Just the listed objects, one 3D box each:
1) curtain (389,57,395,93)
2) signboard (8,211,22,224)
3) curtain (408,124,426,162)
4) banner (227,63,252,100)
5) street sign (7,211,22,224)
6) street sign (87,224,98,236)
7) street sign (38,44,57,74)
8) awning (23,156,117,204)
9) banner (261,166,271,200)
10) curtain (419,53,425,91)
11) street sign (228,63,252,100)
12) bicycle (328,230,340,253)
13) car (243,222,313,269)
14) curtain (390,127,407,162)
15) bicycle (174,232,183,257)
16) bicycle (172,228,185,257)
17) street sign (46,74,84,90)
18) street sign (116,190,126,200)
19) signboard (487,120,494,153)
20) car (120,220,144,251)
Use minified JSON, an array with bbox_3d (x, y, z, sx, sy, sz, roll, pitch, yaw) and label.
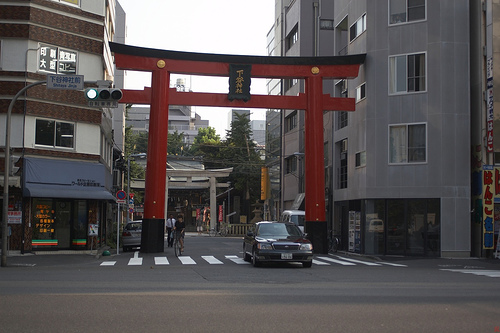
[{"bbox_3d":[8.561,-5.557,35.165,0.417,2.182,0.144,-3,-7,16],"label":"curtain"},{"bbox_3d":[-11.839,2.579,29.207,0.780,0.710,0.110,2,-15,-20],"label":"signboard"},{"bbox_3d":[9.912,-1.499,34.385,1.055,0.235,2.482,8,-44,24],"label":"curtain"},{"bbox_3d":[-0.652,-5.145,35.507,1.512,2.336,0.283,2,-11,-1],"label":"banner"},{"bbox_3d":[-11.803,2.568,29.086,0.751,0.563,0.033,2,-14,-15],"label":"street sign"},{"bbox_3d":[-9.271,3.776,34.423,0.759,0.819,0.627,2,-2,-12],"label":"street sign"},{"bbox_3d":[-12.171,-6.465,34.802,0.138,2.025,1.663,-9,-12,43],"label":"street sign"},{"bbox_3d":[-10.743,0.881,35.013,1.189,2.439,5.966,2,-3,37],"label":"awning"},{"bbox_3d":[1.580,1.826,60.436,0.850,3.324,0.951,-2,-6,2],"label":"banner"},{"bbox_3d":[10.212,-5.611,34.555,0.399,2.198,0.208,-3,-6,11],"label":"curtain"},{"bbox_3d":[-0.664,-5.176,35.514,1.485,2.375,0.311,2,26,-4],"label":"street sign"},{"bbox_3d":[5.555,5.189,38.816,0.710,1.182,1.372,-2,-7,9],"label":"bicycle"},{"bbox_3d":[1.341,3.726,27.823,3.031,2.240,2.339,-2,-7,2],"label":"car"},{"bbox_3d":[8.870,-1.316,34.809,1.012,2.090,0.134,-5,-7,28],"label":"curtain"},{"bbox_3d":[-4.104,4.453,33.301,0.364,1.351,0.980,-1,-7,-6],"label":"bicycle"},{"bbox_3d":[-4.074,4.350,33.374,0.505,1.571,1.100,-1,-7,-5],"label":"bicycle"},{"bbox_3d":[-8.594,-3.995,27.123,1.595,0.882,0.980,0,-8,-13],"label":"street sign"},{"bbox_3d":[-7.489,1.689,33.789,0.469,0.528,0.576,1,-8,-17],"label":"street sign"},{"bbox_3d":[13.495,-1.724,32.688,0.276,1.708,0.469,2,-7,-26],"label":"signboard"},{"bbox_3d":[-7.901,4.562,38.827,1.190,1.706,0.944,-1,-7,-4],"label":"car"}]
